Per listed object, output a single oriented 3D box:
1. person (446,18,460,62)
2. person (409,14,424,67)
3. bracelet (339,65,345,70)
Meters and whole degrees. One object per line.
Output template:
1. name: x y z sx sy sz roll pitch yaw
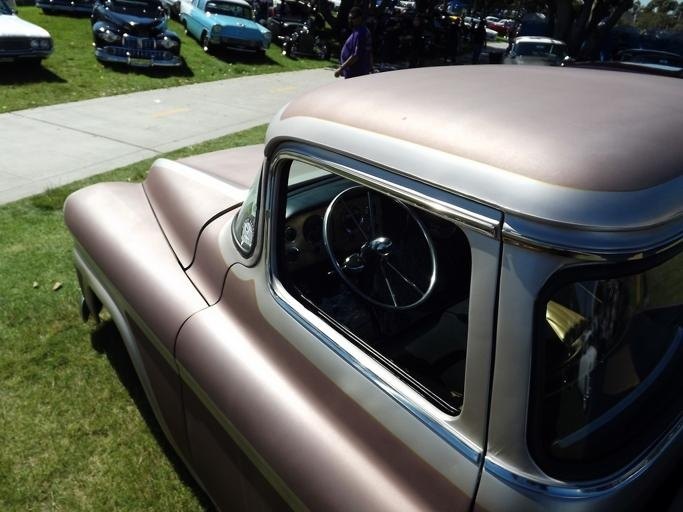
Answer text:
1. person: 4.291 -8.161 20.742 0.457 1.386 1.696 12 31 10
2. person: 2.775 -7.830 19.397 0.519 1.326 1.292 9 31 4
3. bracelet: 0.003 -3.047 8.769 0.072 0.057 0.087 -19 39 -2
